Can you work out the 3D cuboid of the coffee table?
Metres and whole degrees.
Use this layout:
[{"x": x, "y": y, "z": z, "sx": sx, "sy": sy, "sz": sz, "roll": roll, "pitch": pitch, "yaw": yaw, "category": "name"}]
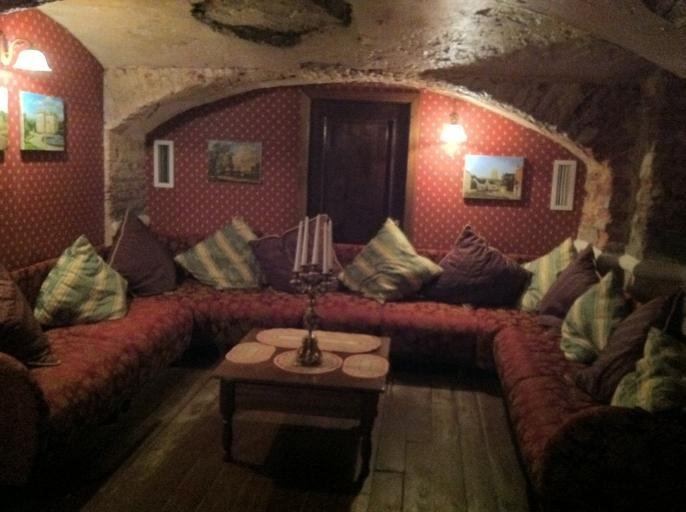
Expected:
[{"x": -0.228, "y": 0.853, "z": 3.242, "sx": 0.980, "sy": 0.599, "sz": 0.800, "roll": 3, "pitch": 13, "yaw": 6, "category": "coffee table"}]
